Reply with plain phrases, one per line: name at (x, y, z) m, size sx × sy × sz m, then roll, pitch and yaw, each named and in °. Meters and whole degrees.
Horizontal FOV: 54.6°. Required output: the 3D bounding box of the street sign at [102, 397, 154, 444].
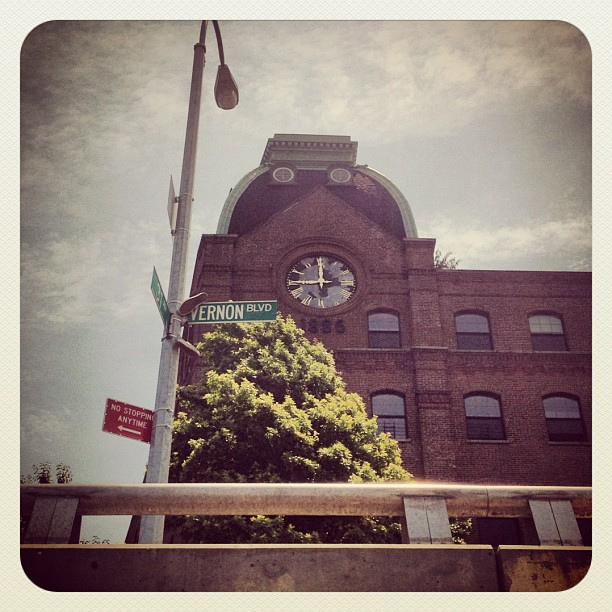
street sign at (-2.670, 1.707, 8.850) m, size 0.676 × 0.641 × 0.497 m, roll 8°, pitch -22°, yaw -18°
